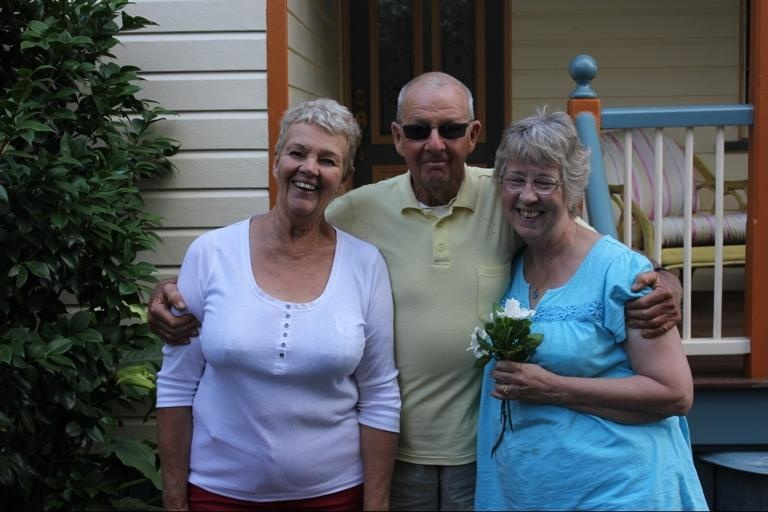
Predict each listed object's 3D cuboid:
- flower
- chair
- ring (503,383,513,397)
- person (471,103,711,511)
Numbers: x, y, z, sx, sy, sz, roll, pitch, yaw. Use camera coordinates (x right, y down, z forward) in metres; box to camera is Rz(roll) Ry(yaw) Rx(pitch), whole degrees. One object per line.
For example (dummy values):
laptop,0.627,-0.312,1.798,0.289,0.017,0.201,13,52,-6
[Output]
flower,0.623,0.655,4.589,0.257,0.846,0.417,-1,1,-42
chair,2.239,-0.324,6.827,1.542,1.390,1.525,-1,6,35
ring,0.646,0.708,4.520,0.027,0.059,0.046,1,10,-32
person,1.052,0.301,4.570,1.139,2.119,0.362,0,1,16
